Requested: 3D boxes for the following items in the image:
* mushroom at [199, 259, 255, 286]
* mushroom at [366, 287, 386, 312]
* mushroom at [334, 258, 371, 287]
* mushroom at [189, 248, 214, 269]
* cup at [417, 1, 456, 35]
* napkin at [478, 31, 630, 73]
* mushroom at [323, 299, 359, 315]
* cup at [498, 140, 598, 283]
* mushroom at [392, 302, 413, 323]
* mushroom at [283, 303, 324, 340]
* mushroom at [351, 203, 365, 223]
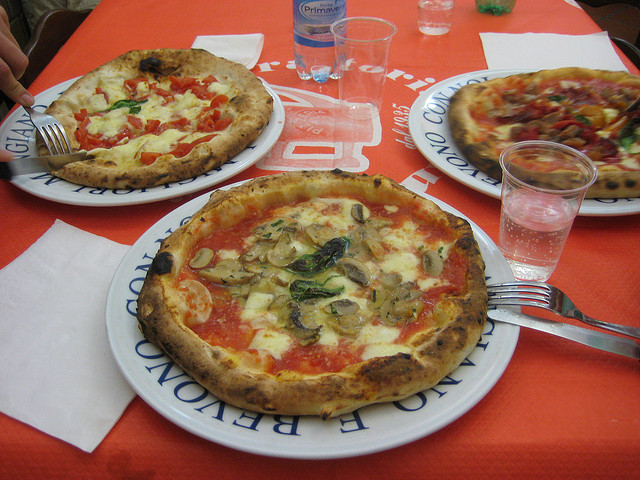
[{"bbox_3d":[-0.337,0.114,1.917,0.122,0.030,0.106,-4,23,-8],"label":"mushroom"},{"bbox_3d":[0.194,0.208,1.830,0.051,0.020,0.082,3,57,19],"label":"mushroom"},{"bbox_3d":[0.129,0.094,1.920,0.110,0.147,0.032,-21,42,16],"label":"mushroom"},{"bbox_3d":[-0.438,0.066,1.974,0.056,0.020,0.083,22,53,26],"label":"mushroom"},{"bbox_3d":[0.769,-1.489,3.558,0.243,0.173,0.223,-1,50,2],"label":"cup"},{"bbox_3d":[1.443,-1.187,3.353,0.547,0.058,0.564,-3,39,-3],"label":"napkin"},{"bbox_3d":[0.076,0.223,1.791,0.085,0.024,0.052,1,38,3],"label":"mushroom"},{"bbox_3d":[0.832,-0.091,1.949,0.415,0.465,0.383,0,42,0],"label":"cup"},{"bbox_3d":[0.280,0.243,1.812,0.061,0.022,0.072,-26,64,-14],"label":"mushroom"},{"bbox_3d":[-0.070,0.276,1.773,0.079,0.044,0.145,-40,68,-20],"label":"mushroom"},{"bbox_3d":[0.152,-0.111,2.128,0.062,0.016,0.096,-9,39,-10],"label":"mushroom"}]
